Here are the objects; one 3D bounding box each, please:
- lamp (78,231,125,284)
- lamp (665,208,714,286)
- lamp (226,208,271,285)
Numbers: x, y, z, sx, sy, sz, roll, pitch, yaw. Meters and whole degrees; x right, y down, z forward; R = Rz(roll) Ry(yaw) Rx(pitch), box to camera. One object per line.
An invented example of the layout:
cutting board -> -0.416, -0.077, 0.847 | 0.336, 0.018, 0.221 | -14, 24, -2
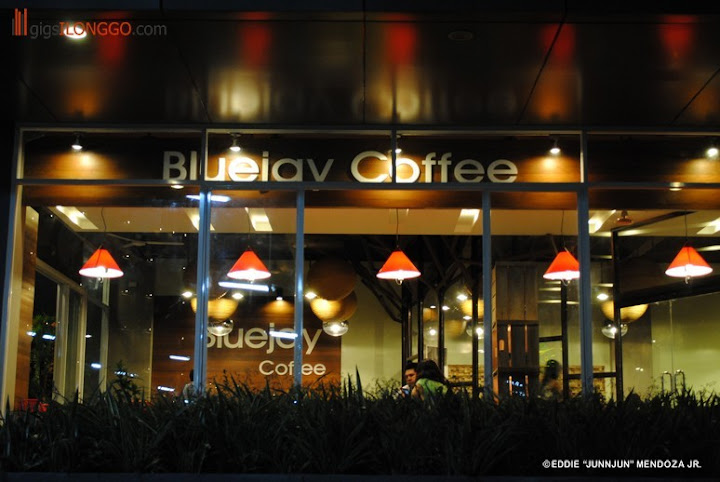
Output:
lamp -> -2.982, 0.248, 10.864 | 0.402, 0.431, 0.417 | 1, -14, -8
lamp -> 4.069, 0.124, 11.440 | 0.509, 0.668, 0.547 | 4, -17, -9
lamp -> -1.264, 0.242, 10.883 | 0.398, 0.661, 0.397 | 0, -19, 0
